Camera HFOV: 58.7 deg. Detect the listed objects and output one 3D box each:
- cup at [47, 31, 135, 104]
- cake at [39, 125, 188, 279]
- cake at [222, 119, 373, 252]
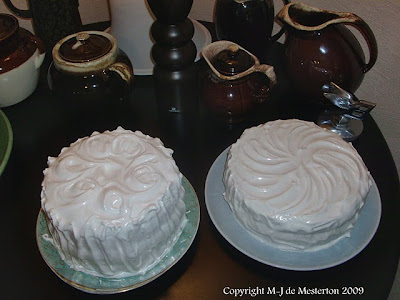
[{"bbox_3d":[-0.325,-0.220,1.107,0.232,0.180,0.199,32,53,22],"label":"cup"},{"bbox_3d":[-0.186,0.108,0.924,0.317,0.181,0.334,32,51,24],"label":"cake"},{"bbox_3d":[0.276,0.067,0.959,0.349,0.125,0.390,-19,42,-5],"label":"cake"}]
